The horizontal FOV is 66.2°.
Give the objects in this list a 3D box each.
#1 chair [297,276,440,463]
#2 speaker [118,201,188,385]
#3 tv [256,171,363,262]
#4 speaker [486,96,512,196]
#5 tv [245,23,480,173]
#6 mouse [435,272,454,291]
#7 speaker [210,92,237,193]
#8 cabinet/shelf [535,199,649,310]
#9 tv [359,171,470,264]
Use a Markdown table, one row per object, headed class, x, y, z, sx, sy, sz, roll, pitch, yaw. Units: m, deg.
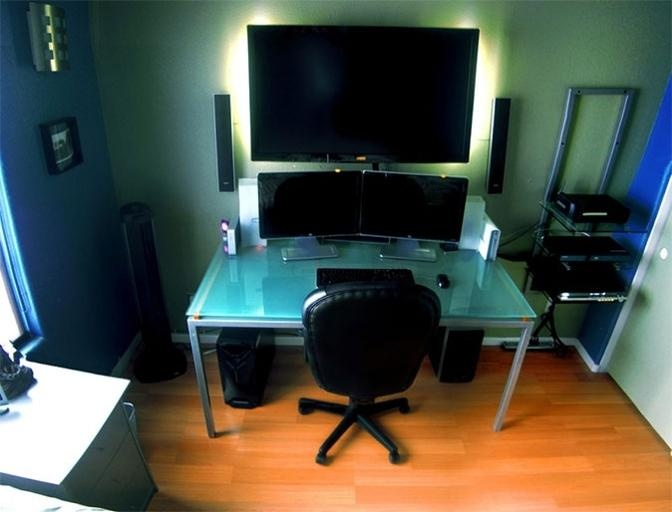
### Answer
| class | x | y | z | sx | sy | sz | roll | pitch | yaw |
| --- | --- | --- | --- | --- | --- | --- | --- | --- | --- |
| chair | 0.143 | 0.525 | 2.926 | 0.746 | 1.227 | 0.689 | -6 | 31 | -15 |
| speaker | -1.199 | 0.265 | 3.292 | 0.330 | 1.172 | 0.289 | 19 | 29 | 31 |
| tv | -0.169 | -0.256 | 3.153 | 0.548 | 0.455 | 0.178 | -2 | 26 | -3 |
| speaker | 1.027 | -0.676 | 3.223 | 0.131 | 0.596 | 0.124 | 3 | -5 | 43 |
| tv | 0.140 | -0.905 | 2.935 | 1.287 | 0.765 | 0.117 | 3 | 25 | -2 |
| mouse | 0.610 | 0.145 | 2.990 | 0.100 | 0.083 | 0.148 | 2 | 22 | 2 |
| speaker | -0.686 | -0.740 | 3.176 | 0.096 | 0.488 | 0.064 | -2 | 9 | 6 |
| cabinet/shelf | 1.544 | 0.031 | 3.346 | 0.553 | 0.745 | 0.439 | -1 | 14 | -15 |
| tv | 0.474 | -0.249 | 3.156 | 0.567 | 0.452 | 0.178 | 3 | 34 | 5 |
